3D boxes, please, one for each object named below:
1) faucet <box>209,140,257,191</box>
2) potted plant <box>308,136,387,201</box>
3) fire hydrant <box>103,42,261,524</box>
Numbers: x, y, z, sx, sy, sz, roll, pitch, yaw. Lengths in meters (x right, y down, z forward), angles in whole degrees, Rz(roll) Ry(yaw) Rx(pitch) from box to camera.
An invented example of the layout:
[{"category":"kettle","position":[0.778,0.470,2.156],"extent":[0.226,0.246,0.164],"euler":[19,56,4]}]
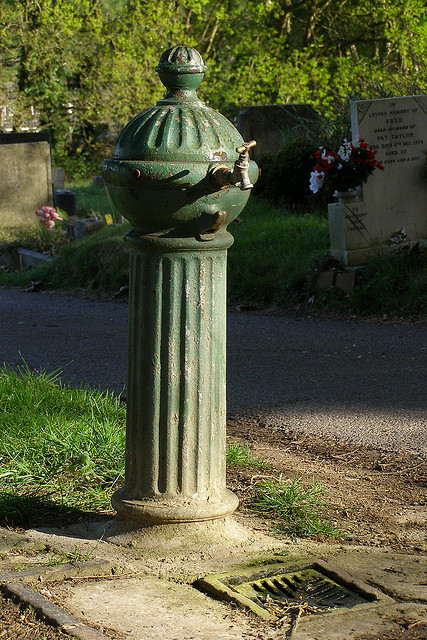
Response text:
[{"category":"faucet","position":[0.053,-0.513,3.421],"extent":[0.161,0.070,0.169],"euler":[-20,41,-1]},{"category":"potted plant","position":[1.260,-1.424,9.817],"extent":[0.517,0.471,0.543],"euler":[-17,26,-9]},{"category":"fire hydrant","position":[-0.137,-0.118,3.534],"extent":[0.594,1.662,0.375],"euler":[6,7,2]}]
